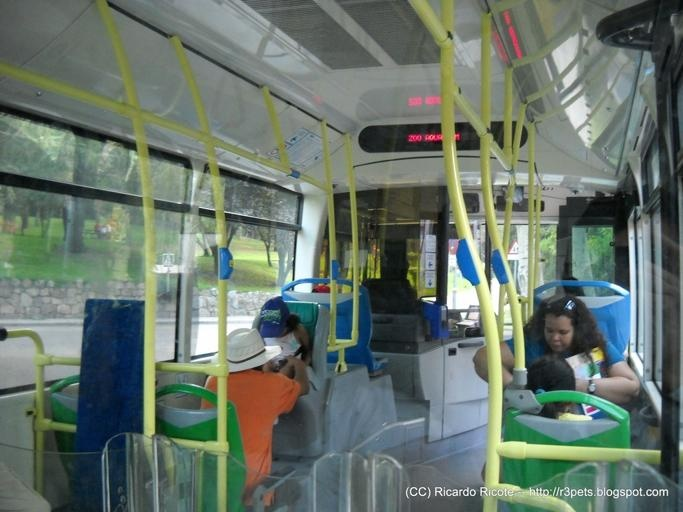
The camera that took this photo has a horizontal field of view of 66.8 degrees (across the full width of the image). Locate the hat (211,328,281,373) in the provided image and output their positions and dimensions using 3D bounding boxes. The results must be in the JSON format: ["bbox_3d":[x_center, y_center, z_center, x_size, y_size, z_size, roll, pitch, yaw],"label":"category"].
[{"bbox_3d":[-0.522,0.479,2.676,0.374,0.170,0.434,-12,0,-15],"label":"hat"}]

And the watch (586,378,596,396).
[{"bbox_3d":[0.932,0.483,1.912,0.033,0.056,0.051,-2,-3,34],"label":"watch"}]
